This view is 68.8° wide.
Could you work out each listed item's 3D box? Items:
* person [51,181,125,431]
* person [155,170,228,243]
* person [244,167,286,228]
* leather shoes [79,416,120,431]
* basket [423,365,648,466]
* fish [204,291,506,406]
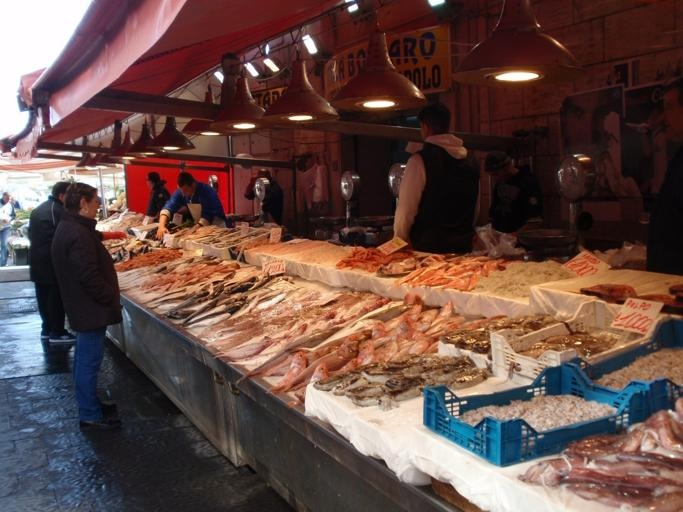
[{"bbox_3d":[-2.266,0.439,4.481,0.516,2.176,0.442,-10,11,-26],"label":"person"},{"bbox_3d":[-2.464,-0.857,8.050,1.156,0.993,0.889,-3,10,7],"label":"person"},{"bbox_3d":[-1.679,-1.246,10.773,0.808,1.235,0.805,7,19,11],"label":"person"},{"bbox_3d":[-2.185,1.507,4.526,0.328,0.118,0.135,-1,5,-5],"label":"leather shoes"},{"bbox_3d":[0.719,0.582,1.794,0.510,0.123,0.361,-5,6,-30],"label":"basket"},{"bbox_3d":[0.122,0.497,3.072,1.143,0.194,0.743,-15,11,-20],"label":"fish"}]
